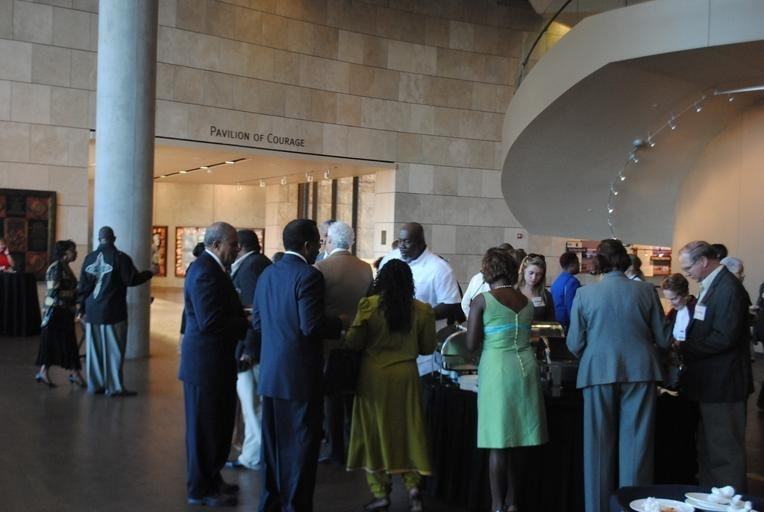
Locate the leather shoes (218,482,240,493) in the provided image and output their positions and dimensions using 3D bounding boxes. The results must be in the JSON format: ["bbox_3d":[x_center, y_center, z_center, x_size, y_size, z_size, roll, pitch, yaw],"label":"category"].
[{"bbox_3d":[-1.459,2.207,6.912,0.189,0.086,0.073,1,0,9],"label":"leather shoes"}]

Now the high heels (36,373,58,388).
[{"bbox_3d":[-4.598,1.700,9.848,0.293,0.158,0.096,15,5,8],"label":"high heels"}]

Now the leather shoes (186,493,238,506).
[{"bbox_3d":[-1.550,2.259,6.680,0.303,0.128,0.180,-1,-6,3],"label":"leather shoes"}]

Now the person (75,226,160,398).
[{"bbox_3d":[-3.531,0.705,9.360,0.891,1.755,0.399,1,0,-2],"label":"person"}]
